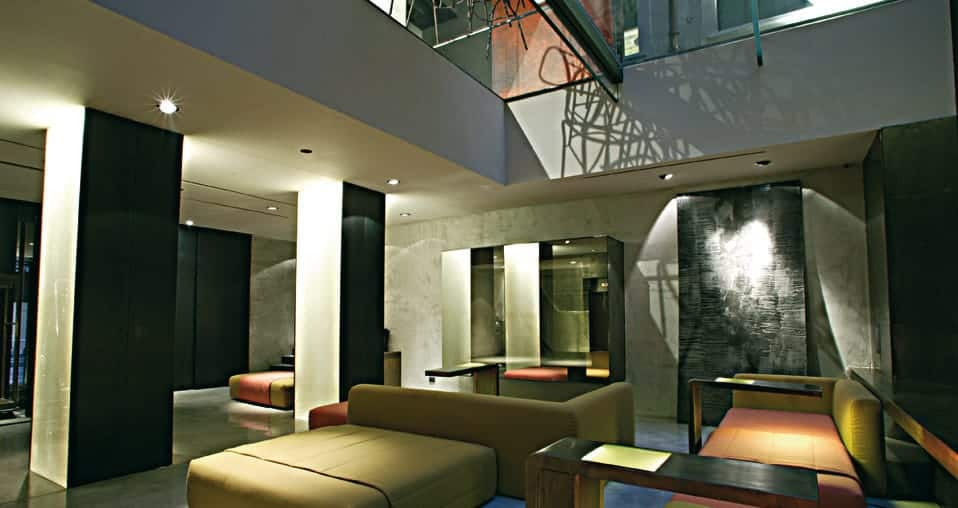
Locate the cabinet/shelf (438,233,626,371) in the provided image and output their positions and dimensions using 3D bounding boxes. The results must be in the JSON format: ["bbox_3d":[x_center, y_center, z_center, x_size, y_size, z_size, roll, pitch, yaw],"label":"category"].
[{"bbox_3d":[1.031,0.884,11.710,3.084,2.188,0.939,-1,-3,29],"label":"cabinet/shelf"}]
